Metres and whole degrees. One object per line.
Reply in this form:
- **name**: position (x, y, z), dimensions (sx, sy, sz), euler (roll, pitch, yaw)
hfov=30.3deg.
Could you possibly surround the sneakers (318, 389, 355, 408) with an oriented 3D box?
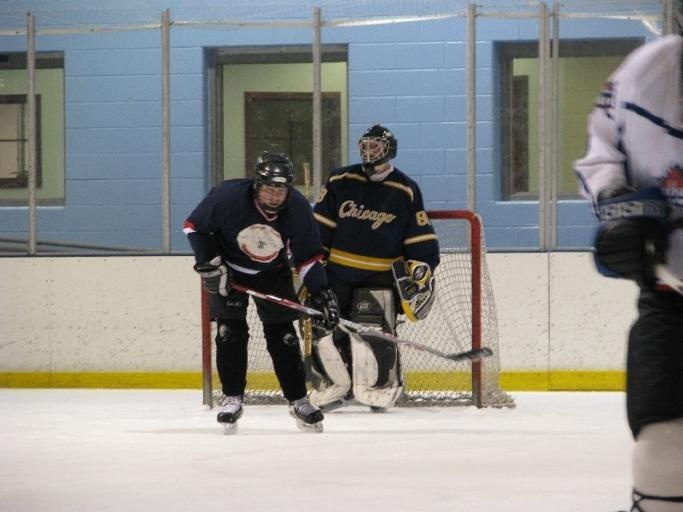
- **sneakers**: position (-0.022, 0.805, 6.945), dimensions (0.142, 0.056, 0.107), euler (-21, -22, 16)

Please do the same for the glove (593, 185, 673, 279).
- **glove**: position (1.105, -0.084, 4.864), dimensions (0.256, 0.365, 0.169), euler (2, 2, 7)

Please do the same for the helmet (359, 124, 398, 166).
- **helmet**: position (0.203, -0.610, 7.009), dimensions (0.212, 0.256, 0.266), euler (0, 1, 28)

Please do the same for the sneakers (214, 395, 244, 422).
- **sneakers**: position (-0.574, 0.790, 6.457), dimensions (0.113, 0.137, 0.143), euler (0, 9, 5)

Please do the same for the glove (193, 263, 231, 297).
- **glove**: position (-0.662, 0.120, 6.457), dimensions (0.175, 0.180, 0.078), euler (0, 9, 0)

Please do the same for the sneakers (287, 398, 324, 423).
- **sneakers**: position (-0.186, 0.795, 6.518), dimensions (0.078, 0.098, 0.217), euler (-7, 15, -39)

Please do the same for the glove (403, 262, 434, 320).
- **glove**: position (0.430, 0.197, 6.912), dimensions (0.130, 0.297, 0.170), euler (3, 0, -4)

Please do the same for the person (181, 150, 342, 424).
- **person**: position (-0.412, 0.178, 6.480), dimensions (0.767, 1.405, 0.346), euler (-1, 9, -6)

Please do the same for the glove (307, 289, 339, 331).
- **glove**: position (-0.089, 0.279, 6.448), dimensions (0.086, 0.148, 0.204), euler (-12, 38, -4)

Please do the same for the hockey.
- **hockey**: position (0.124, 0.359, 6.882), dimensions (1.340, 0.200, 0.161), euler (11, -28, 19)
